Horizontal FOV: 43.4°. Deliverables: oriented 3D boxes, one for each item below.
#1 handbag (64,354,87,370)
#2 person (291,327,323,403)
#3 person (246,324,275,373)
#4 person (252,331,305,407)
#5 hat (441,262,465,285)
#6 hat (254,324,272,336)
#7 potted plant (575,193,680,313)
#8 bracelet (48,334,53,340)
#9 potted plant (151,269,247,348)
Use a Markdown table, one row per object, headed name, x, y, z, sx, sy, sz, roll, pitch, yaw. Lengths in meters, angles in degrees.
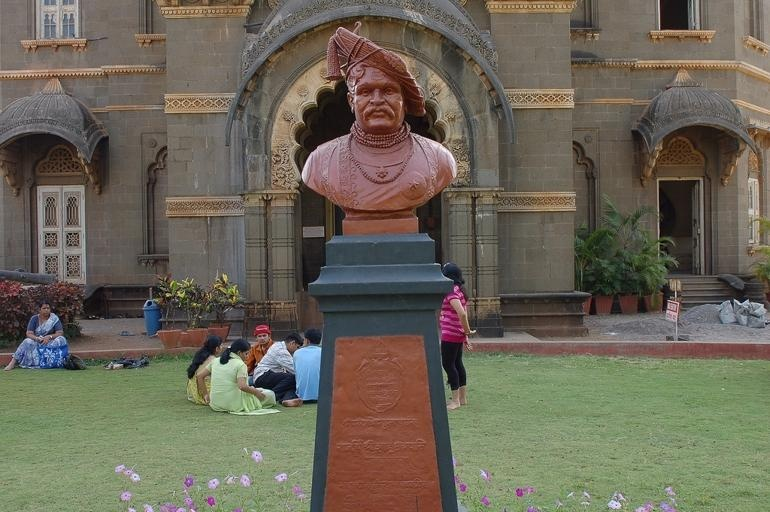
| name | x | y | z | sx | sy | sz | roll | pitch | yaw |
| --- | --- | --- | --- | --- | --- | --- | --- | --- | --- |
| handbag | -6.746 | 2.282 | 20.911 | 0.432 | 0.338 | 0.257 | 0 | -4 | -24 |
| person | -1.516 | 2.108 | 18.636 | 0.536 | 1.424 | 0.528 | -1 | -4 | -6 |
| person | -2.551 | 1.911 | 19.764 | 0.752 | 1.056 | 0.607 | 0 | -11 | 4 |
| person | -2.084 | 2.224 | 18.956 | 1.181 | 1.719 | 0.919 | 1 | -35 | 0 |
| hat | 1.285 | 0.320 | 18.038 | 0.315 | 0.371 | 0.462 | 2 | -9 | 9 |
| hat | -2.505 | 1.471 | 19.784 | 0.293 | 0.309 | 0.380 | 3 | -15 | -14 |
| potted plant | 6.797 | -0.156 | 28.288 | 2.737 | 2.964 | 2.852 | 0 | -4 | -3 |
| bracelet | -7.299 | 1.756 | 20.953 | 0.084 | 0.063 | 0.082 | -5 | -15 | -34 |
| potted plant | -4.543 | 1.114 | 23.196 | 1.791 | 1.394 | 1.723 | 3 | 4 | -21 |
